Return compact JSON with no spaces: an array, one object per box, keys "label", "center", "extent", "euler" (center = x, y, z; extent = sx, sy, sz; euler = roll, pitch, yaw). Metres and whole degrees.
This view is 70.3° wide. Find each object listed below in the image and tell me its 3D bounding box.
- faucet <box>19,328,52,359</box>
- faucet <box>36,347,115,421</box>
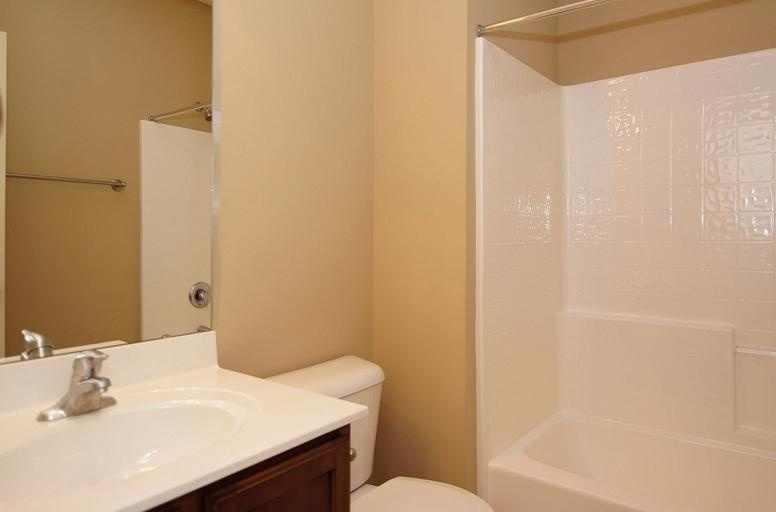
[{"label":"faucet","center":[-1.121,0.288,1.756],"extent":[0.095,0.104,0.062],"euler":[-1,-2,24]},{"label":"faucet","center":[-0.961,0.398,1.737],"extent":[0.200,0.198,0.246],"euler":[0,1,20]}]
